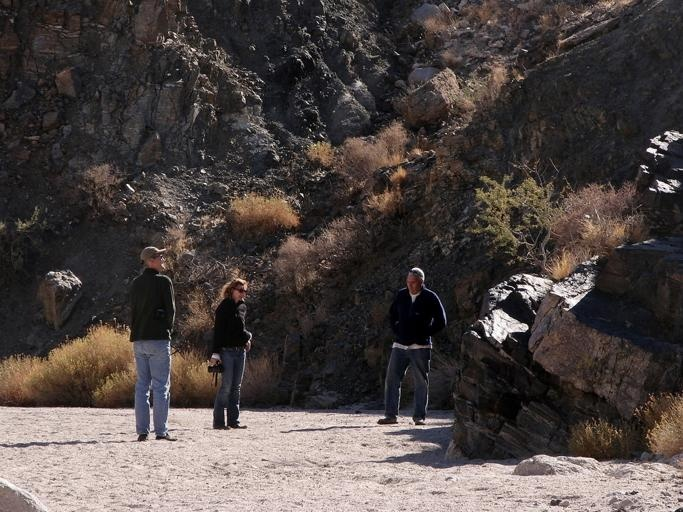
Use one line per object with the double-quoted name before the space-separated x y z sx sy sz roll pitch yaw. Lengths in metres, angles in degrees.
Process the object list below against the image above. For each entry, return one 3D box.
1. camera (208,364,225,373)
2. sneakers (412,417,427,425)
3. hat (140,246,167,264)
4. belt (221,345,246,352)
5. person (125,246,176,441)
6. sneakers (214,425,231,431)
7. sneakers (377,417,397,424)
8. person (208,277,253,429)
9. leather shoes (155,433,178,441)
"camera" -3.148 2.970 37.248 0.224 0.204 0.259 0 -7 -9
"sneakers" 2.114 4.364 37.487 0.293 0.222 0.210 0 -5 5
"hat" -4.727 -0.011 36.637 0.530 0.361 0.401 -24 14 -16
"belt" -2.684 2.448 37.361 0.661 0.154 0.166 2 -6 -15
"person" -4.707 2.276 36.438 1.067 4.941 0.443 1 -4 -12
"sneakers" -3.011 4.502 37.357 0.405 0.230 0.159 -2 2 -6
"sneakers" 1.290 4.387 37.736 0.434 0.247 0.214 5 8 -3
"person" -2.818 2.583 37.511 0.983 3.985 0.634 1 -5 -14
"leather shoes" -4.316 4.638 36.317 0.554 0.338 0.219 -2 4 -2
